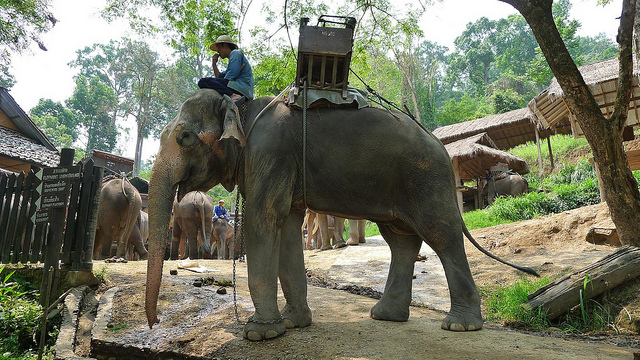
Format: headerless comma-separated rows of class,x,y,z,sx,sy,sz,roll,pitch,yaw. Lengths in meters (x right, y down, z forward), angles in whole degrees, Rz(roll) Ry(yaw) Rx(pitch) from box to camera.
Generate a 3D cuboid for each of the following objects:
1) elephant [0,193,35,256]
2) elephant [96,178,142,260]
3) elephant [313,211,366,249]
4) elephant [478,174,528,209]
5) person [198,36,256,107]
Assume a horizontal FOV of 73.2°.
elephant,-6.364,0.913,9.044,0.601,1.146,1.169,-6,11,-33
elephant,-5.805,1.192,12.365,1.162,2.396,0.729,-5,11,-26
elephant,0.597,1.683,14.275,2.160,1.427,1.061,2,-6,10
elephant,8.855,0.584,21.073,0.962,1.661,3.052,-8,-4,-26
person,-1.714,-1.982,7.898,1.048,1.240,0.757,0,1,10
